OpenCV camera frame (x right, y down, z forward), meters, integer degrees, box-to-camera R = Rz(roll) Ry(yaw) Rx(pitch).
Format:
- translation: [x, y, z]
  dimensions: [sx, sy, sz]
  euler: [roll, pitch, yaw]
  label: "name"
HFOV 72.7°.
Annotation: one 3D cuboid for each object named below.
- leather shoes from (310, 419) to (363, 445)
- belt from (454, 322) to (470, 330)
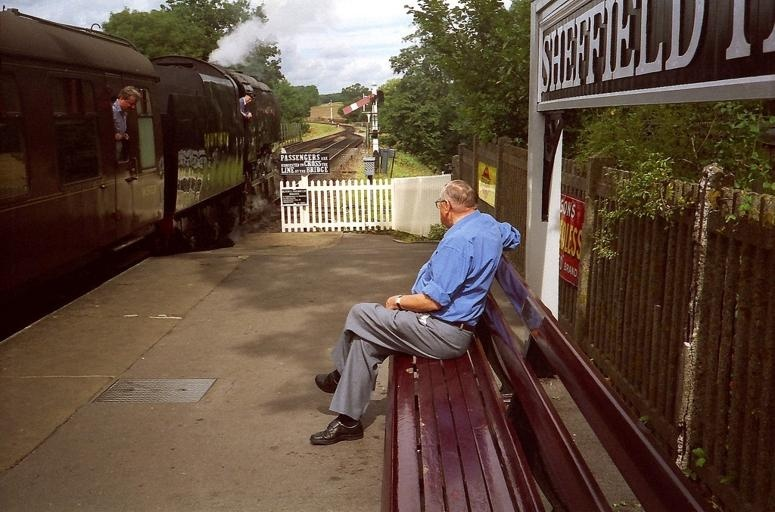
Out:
- translation: [-0.421, 1.500, 4.590]
  dimensions: [0.517, 0.243, 0.200]
  euler: [-1, 3, -4]
  label: "leather shoes"
- translation: [0.603, 0.565, 4.198]
  dimensions: [0.077, 0.024, 0.079]
  euler: [19, 7, -2]
  label: "belt"
